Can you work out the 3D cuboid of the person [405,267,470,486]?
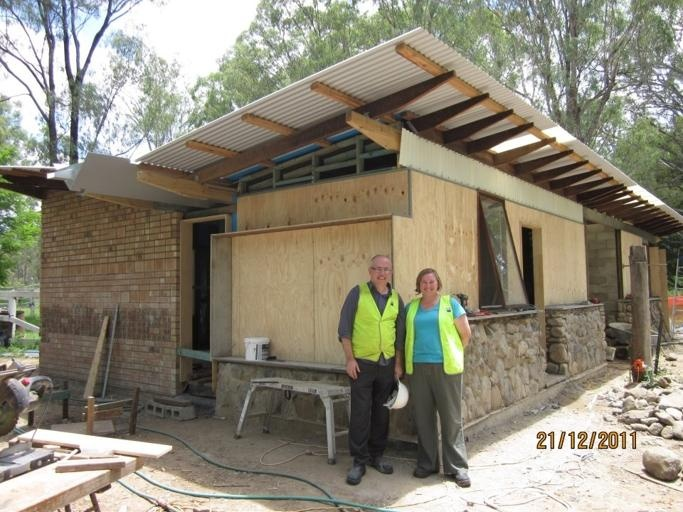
[{"bbox_3d":[1.091,1.339,5.976,0.737,2.463,0.383,-1,0,13],"label":"person"}]

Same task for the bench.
[{"bbox_3d":[-0.618,2.100,7.095,1.835,1.053,0.721,-1,0,34],"label":"bench"}]

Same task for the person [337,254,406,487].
[{"bbox_3d":[0.352,1.401,6.079,0.802,2.512,0.342,-1,0,-30],"label":"person"}]

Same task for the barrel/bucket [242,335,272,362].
[{"bbox_3d":[-1.275,1.390,7.892,0.416,0.346,0.264,-1,0,28],"label":"barrel/bucket"}]
